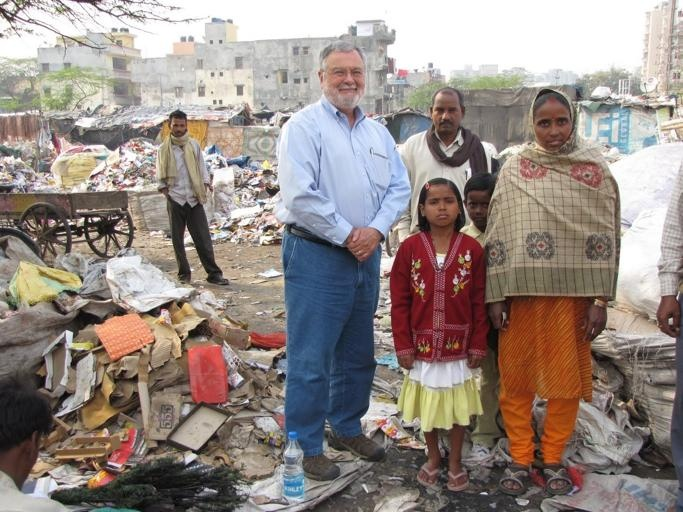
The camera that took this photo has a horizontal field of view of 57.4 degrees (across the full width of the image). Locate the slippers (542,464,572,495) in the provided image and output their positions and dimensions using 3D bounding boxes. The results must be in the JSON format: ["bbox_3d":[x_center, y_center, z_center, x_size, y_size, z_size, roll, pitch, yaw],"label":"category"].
[{"bbox_3d":[1.273,1.320,3.681,0.151,0.145,0.130,3,15,14],"label":"slippers"}]

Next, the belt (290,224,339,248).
[{"bbox_3d":[-0.178,-0.144,3.741,0.200,0.048,0.160,22,2,-8],"label":"belt"}]

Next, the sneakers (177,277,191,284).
[{"bbox_3d":[-2.061,0.305,8.167,0.131,0.141,0.342,0,6,-18],"label":"sneakers"}]

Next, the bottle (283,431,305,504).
[{"bbox_3d":[-0.281,1.232,3.665,0.130,0.368,0.192,-2,15,-5],"label":"bottle"}]

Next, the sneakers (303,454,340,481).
[{"bbox_3d":[-0.115,1.285,3.814,0.247,0.099,0.113,-1,5,18],"label":"sneakers"}]

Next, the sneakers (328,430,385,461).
[{"bbox_3d":[0.109,1.233,4.121,0.397,0.163,0.134,6,15,22],"label":"sneakers"}]

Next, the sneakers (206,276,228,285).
[{"bbox_3d":[-1.625,0.324,8.247,0.286,0.116,0.107,3,6,8],"label":"sneakers"}]

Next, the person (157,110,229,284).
[{"bbox_3d":[-1.957,-0.722,8.019,0.733,2.221,0.537,-5,16,-16],"label":"person"}]
